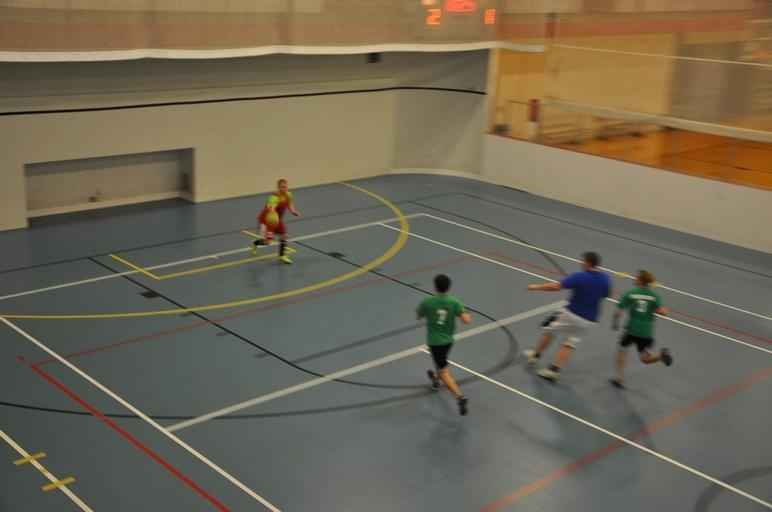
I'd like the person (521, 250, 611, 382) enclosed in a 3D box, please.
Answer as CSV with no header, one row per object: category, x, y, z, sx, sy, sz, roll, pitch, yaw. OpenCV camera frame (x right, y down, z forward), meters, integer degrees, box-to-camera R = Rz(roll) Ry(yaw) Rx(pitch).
person,3.548,1.174,10.915,1.249,2.444,0.509,-5,21,-10

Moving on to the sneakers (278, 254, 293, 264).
sneakers,-2.696,0.082,15.381,0.183,0.154,0.369,-22,24,-40

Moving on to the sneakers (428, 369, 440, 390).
sneakers,0.897,2.300,10.650,0.157,0.180,0.416,-6,41,-11

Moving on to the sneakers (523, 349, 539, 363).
sneakers,2.882,2.040,11.513,0.284,0.198,0.253,16,32,33

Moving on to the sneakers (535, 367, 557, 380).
sneakers,3.105,2.278,11.133,0.351,0.151,0.195,19,6,-7
